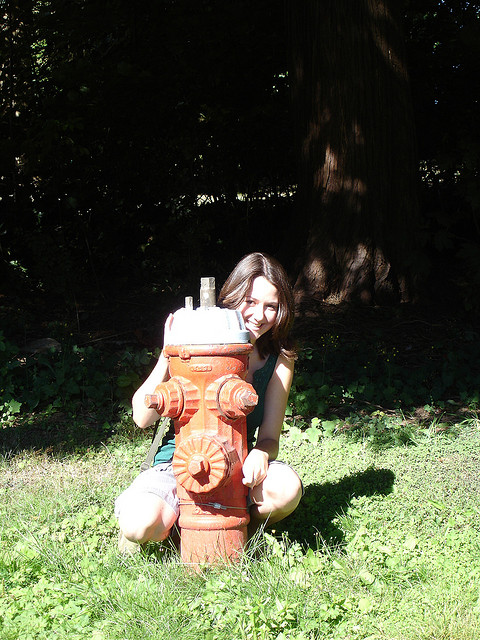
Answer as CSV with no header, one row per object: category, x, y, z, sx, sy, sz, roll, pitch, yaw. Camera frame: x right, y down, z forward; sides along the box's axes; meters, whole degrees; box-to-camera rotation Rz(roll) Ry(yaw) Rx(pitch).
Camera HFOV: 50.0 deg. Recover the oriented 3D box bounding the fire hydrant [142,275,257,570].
fire hydrant,-0.123,0.389,1.620,0.331,0.860,0.273,1,4,0
